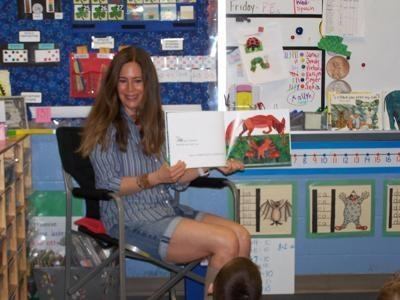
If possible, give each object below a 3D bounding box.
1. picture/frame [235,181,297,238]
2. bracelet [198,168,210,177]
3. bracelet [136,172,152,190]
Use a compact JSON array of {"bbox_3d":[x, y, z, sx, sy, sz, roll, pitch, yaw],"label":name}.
[{"bbox_3d":[0.421,0.374,3.955,0.377,0.321,0.018,0,1,-1],"label":"picture/frame"},{"bbox_3d":[0.020,0.131,3.533,0.038,0.050,0.056,-3,-10,12],"label":"bracelet"},{"bbox_3d":[-0.311,0.179,3.333,0.060,0.070,0.079,4,-21,-5],"label":"bracelet"}]
